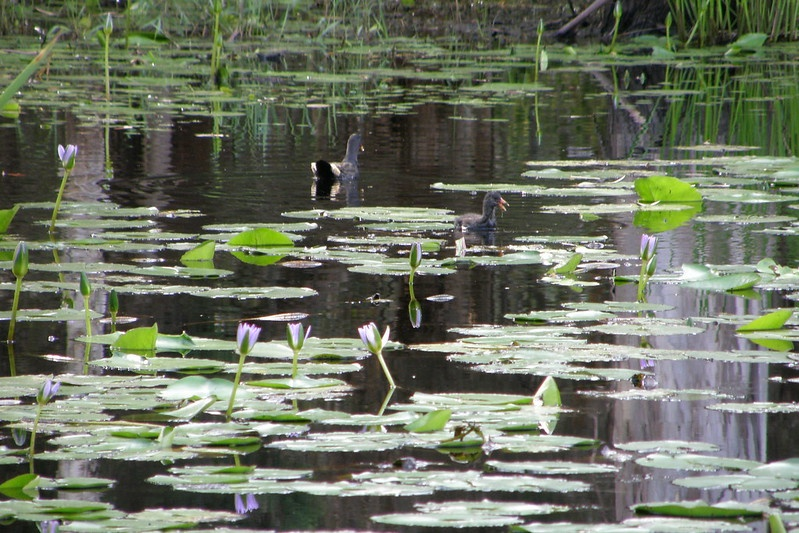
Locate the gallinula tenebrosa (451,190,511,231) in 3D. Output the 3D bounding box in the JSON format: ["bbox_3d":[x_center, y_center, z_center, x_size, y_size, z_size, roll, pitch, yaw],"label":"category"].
[{"bbox_3d":[0.496,-0.299,8.391,0.422,0.275,0.155,-8,-2,42],"label":"gallinula tenebrosa"}]

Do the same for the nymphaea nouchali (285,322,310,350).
[{"bbox_3d":[-0.409,0.295,6.083,0.172,0.138,0.096,-1,-1,-4],"label":"nymphaea nouchali"}]
